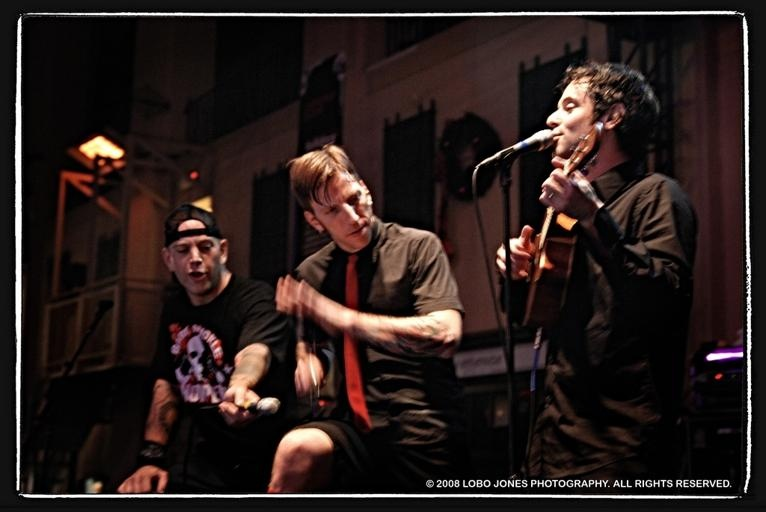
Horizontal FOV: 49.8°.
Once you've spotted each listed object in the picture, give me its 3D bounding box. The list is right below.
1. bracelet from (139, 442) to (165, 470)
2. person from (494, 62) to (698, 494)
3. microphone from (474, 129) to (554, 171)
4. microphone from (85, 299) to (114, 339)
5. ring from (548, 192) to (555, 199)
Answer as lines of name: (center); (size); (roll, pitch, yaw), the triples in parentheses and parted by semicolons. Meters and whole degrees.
bracelet: (-1.232, 1.068, 4.420); (0.135, 0.149, 0.137); (2, -5, 0)
person: (1.191, 0.073, 4.361); (0.941, 2.154, 0.395); (-6, -13, 13)
microphone: (0.712, -0.556, 4.353); (0.376, 0.090, 0.088); (-25, 14, -14)
microphone: (-1.531, 0.332, 4.486); (0.148, 0.188, 0.020); (-7, -13, 15)
ring: (0.890, -0.317, 4.349); (0.034, 0.033, 0.008); (1, -4, 1)
